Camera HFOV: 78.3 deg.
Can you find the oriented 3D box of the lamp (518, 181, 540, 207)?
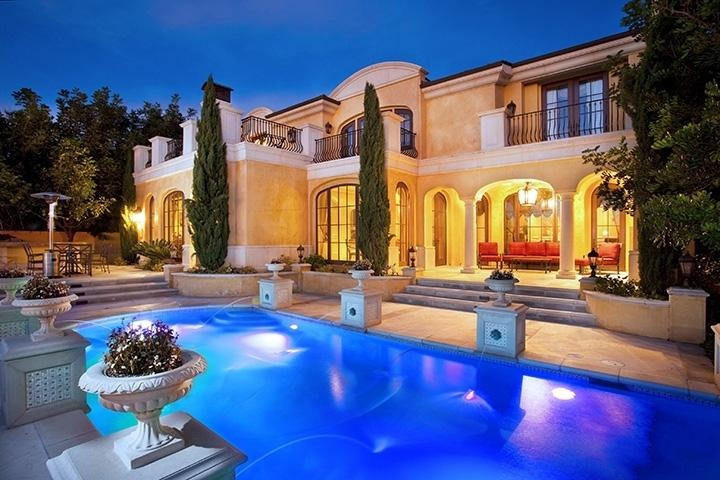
[{"bbox_3d":[6.054,-1.695,16.023,0.573,0.866,0.557,-4,-2,42],"label":"lamp"}]

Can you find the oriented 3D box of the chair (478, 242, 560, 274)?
[{"bbox_3d":[6.160,0.628,17.213,2.825,1.156,1.845,-4,-1,25],"label":"chair"}]

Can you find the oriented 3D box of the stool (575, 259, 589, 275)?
[{"bbox_3d":[7.837,0.927,15.702,0.485,0.475,0.485,0,-2,-31],"label":"stool"}]

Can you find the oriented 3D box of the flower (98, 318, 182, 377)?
[{"bbox_3d":[-3.143,1.536,6.452,0.900,0.680,0.793,-2,10,-21],"label":"flower"}]

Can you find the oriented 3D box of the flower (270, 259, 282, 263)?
[{"bbox_3d":[-2.747,0.695,14.350,0.271,0.116,0.279,1,-3,-40],"label":"flower"}]

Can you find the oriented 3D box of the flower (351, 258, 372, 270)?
[{"bbox_3d":[0.052,0.665,11.631,0.387,0.239,0.488,-3,-1,17],"label":"flower"}]

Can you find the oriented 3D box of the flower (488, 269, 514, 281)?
[{"bbox_3d":[3.151,0.765,9.873,0.534,0.225,0.771,-4,-1,23],"label":"flower"}]

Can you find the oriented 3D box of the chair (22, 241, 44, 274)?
[{"bbox_3d":[-11.256,0.579,15.433,0.768,0.981,0.780,4,11,-11],"label":"chair"}]

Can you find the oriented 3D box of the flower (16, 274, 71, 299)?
[{"bbox_3d":[-5.720,0.882,8.059,0.576,0.355,0.585,4,-1,-22],"label":"flower"}]

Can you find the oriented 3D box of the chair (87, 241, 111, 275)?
[{"bbox_3d":[-10.772,0.741,18.336,0.994,1.516,0.985,-2,-4,39],"label":"chair"}]

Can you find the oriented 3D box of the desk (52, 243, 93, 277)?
[{"bbox_3d":[-10.116,0.645,16.149,0.918,0.759,0.935,-9,11,-10],"label":"desk"}]
